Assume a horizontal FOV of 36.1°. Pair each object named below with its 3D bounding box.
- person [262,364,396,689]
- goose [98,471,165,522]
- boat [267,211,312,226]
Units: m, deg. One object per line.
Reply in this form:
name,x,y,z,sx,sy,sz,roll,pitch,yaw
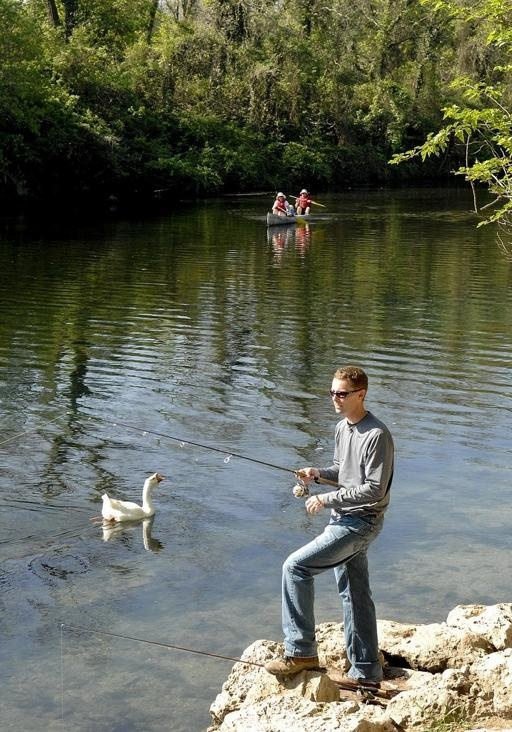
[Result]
person,0.406,0.879,4.392,0.947,1.557,0.579,-1,2,-22
goose,-1.156,1.231,7.346,0.568,0.414,0.335,-3,2,-26
boat,1.500,-6.737,35.972,0.695,0.643,3.123,12,14,36
